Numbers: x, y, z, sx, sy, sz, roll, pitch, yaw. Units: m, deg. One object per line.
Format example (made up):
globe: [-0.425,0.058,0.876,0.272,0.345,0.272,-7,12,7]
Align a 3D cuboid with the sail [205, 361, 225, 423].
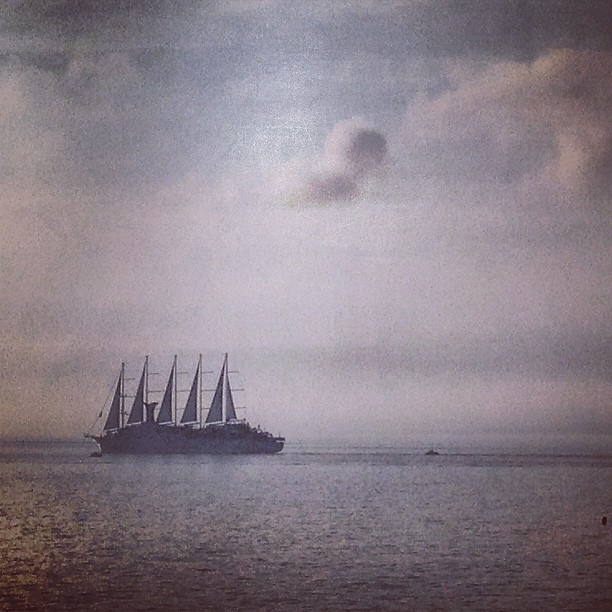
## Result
sail: [-3.721,3.740,54.444,1.073,3.653,0.163,0,-38,0]

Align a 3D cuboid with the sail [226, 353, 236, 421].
sail: [-3.111,4.004,53.780,0.374,1.759,3.041,1,-2,-3]
